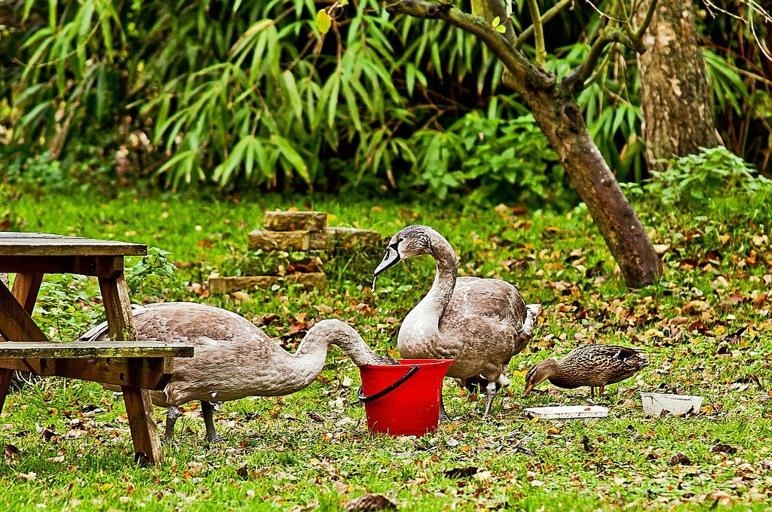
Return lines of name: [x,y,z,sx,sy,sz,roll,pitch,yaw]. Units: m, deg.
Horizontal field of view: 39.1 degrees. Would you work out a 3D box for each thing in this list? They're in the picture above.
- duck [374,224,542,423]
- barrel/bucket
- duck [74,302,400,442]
duck: [0.670,0.459,9.855,1.972,1.662,1.089,-5,1,-43]
barrel/bucket: [0.209,1.198,9.653,0.780,0.634,0.666,2,-1,17]
duck: [-1.265,0.916,9.658,2.547,1.101,1.107,7,3,-5]
